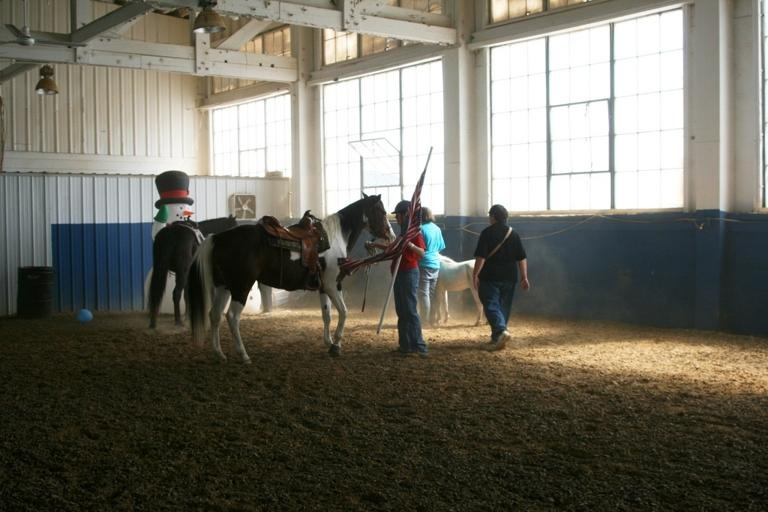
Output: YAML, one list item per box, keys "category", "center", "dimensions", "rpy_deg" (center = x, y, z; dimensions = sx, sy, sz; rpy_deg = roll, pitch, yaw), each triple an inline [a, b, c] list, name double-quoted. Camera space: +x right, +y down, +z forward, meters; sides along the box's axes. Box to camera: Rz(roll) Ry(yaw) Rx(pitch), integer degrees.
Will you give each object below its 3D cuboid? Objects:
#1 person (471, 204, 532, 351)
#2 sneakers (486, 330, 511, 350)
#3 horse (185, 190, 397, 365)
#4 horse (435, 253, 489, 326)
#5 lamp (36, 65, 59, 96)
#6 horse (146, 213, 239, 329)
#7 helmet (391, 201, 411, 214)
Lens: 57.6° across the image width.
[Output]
- category: "person"
  center: [1.615, 0.297, 9.763]
  dimensions: [0.754, 1.962, 0.477]
  rpy_deg: [0, 11, -1]
- category: "sneakers"
  center: [1.609, 1.218, 9.866]
  dimensions: [0.162, 0.196, 0.443]
  rpy_deg: [-1, -28, -22]
- category: "horse"
  center: [-1.207, 0.295, 9.625]
  dimensions: [2.927, 2.207, 0.752]
  rpy_deg: [-3, 3, -23]
- category: "horse"
  center: [1.201, 0.518, 11.824]
  dimensions: [1.549, 1.244, 0.385]
  rpy_deg: [-2, -6, 40]
- category: "lamp"
  center: [-6.757, -3.505, 13.909]
  dimensions: [0.345, 0.553, 1.010]
  rpy_deg: [-5, 14, -26]
- category: "horse"
  center: [-3.363, 0.209, 12.014]
  dimensions: [0.644, 1.849, 2.623]
  rpy_deg: [2, 5, 8]
- category: "helmet"
  center: [0.243, -0.669, 9.709]
  dimensions: [0.209, 0.123, 0.158]
  rpy_deg: [0, 5, 8]
